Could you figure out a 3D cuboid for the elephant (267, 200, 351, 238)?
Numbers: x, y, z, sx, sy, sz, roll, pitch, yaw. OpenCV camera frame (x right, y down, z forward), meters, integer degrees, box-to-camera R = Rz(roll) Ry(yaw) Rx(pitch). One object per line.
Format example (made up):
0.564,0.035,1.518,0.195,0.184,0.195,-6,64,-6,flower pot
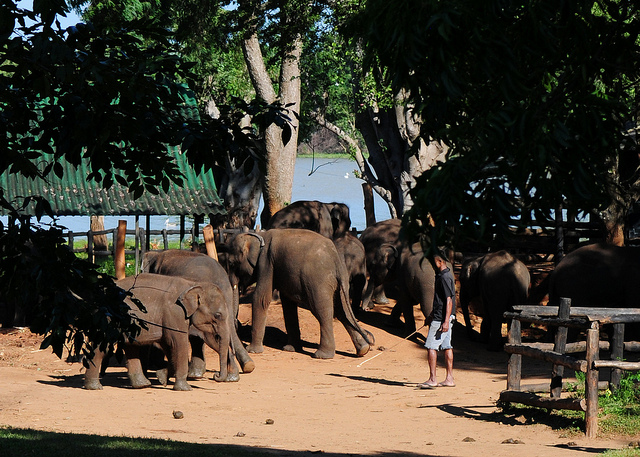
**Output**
-0.282,-0.218,20.402,1.758,1.036,0.803,-5,15,-43,elephant

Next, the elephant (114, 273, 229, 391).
-2.096,1.531,13.391,1.560,1.702,0.894,-1,4,-24,elephant

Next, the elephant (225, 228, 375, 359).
-0.534,1.183,16.756,3.071,2.321,1.230,4,6,29,elephant

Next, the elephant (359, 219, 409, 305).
1.195,0.984,20.154,0.796,1.386,1.638,-7,7,35,elephant

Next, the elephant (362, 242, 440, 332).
1.764,1.177,18.042,0.803,1.707,2.669,-4,5,-37,elephant

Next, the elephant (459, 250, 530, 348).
3.274,1.349,18.137,1.282,1.837,2.899,0,-3,-12,elephant
